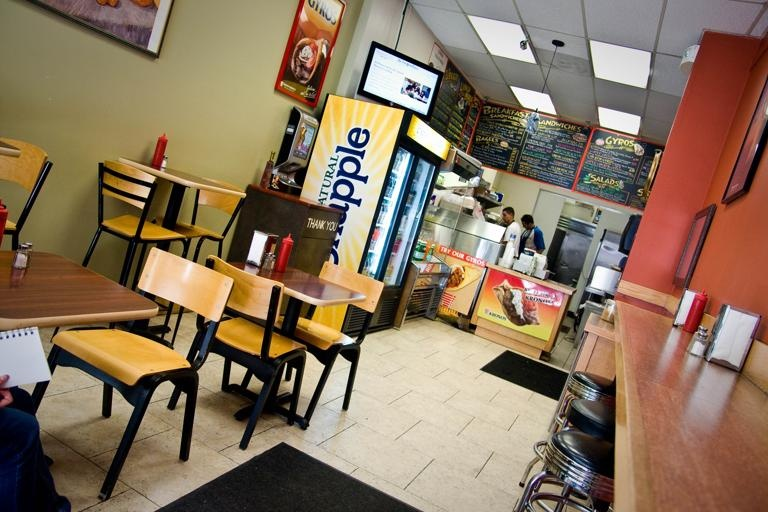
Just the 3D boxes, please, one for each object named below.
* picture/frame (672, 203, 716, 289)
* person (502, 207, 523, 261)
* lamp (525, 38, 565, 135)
[{"bbox_3d":[2.850,-0.079,4.596,0.032,0.742,0.762,18,-11,16],"label":"picture/frame"},{"bbox_3d":[1.867,-0.325,7.424,0.317,0.683,1.045,11,12,14],"label":"person"},{"bbox_3d":[2.222,-2.257,7.024,0.230,0.959,2.106,10,11,12],"label":"lamp"}]
